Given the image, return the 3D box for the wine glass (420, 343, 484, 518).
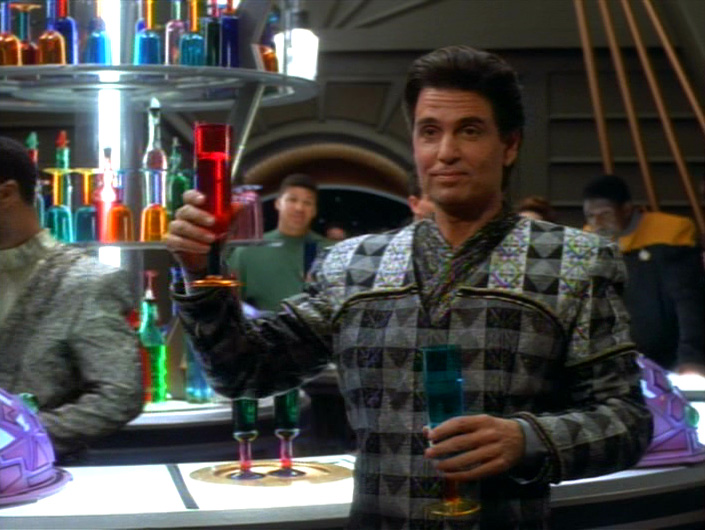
[{"bbox_3d":[0.234,0.387,2.052,0.141,0.408,0.081,-2,4,-44],"label":"wine glass"}]
